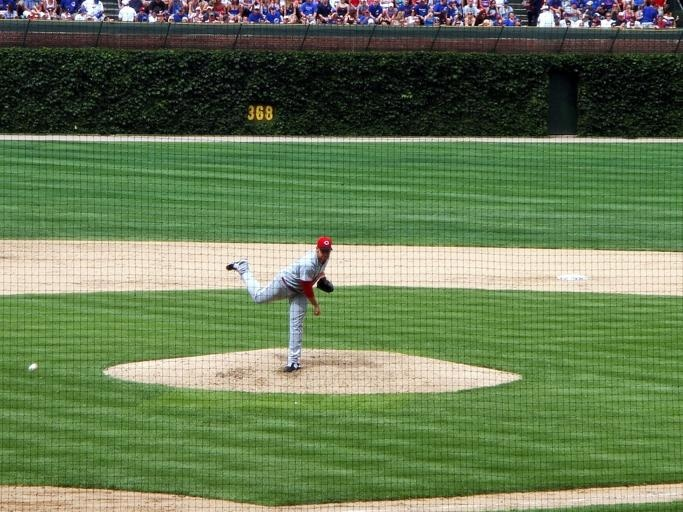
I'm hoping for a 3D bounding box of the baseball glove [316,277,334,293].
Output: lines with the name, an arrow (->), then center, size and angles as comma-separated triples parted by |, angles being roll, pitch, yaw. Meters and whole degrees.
baseball glove -> -0.427, 0.593, 44.880 | 0.415, 0.307, 0.179 | 30, 73, 7
